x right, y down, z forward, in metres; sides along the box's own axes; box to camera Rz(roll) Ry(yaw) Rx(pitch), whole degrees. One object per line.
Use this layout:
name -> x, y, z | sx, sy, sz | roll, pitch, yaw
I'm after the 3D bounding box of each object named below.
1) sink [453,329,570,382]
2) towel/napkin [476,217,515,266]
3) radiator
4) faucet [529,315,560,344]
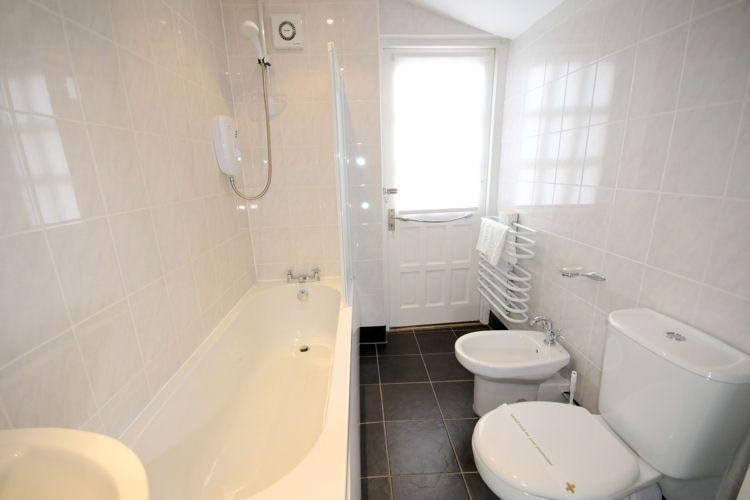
sink -> 0.806, 0.626, 2.900 | 0.416, 0.161, 0.341 | -3, 11, 2
towel/napkin -> 0.862, -0.054, 3.392 | 0.077, 0.231, 0.314 | 14, 13, -3
radiator -> 0.930, 0.130, 3.407 | 0.200, 0.654, 0.675 | 0, 11, -4
faucet -> 1.049, 0.471, 2.991 | 0.176, 0.192, 0.192 | 0, 17, -3
